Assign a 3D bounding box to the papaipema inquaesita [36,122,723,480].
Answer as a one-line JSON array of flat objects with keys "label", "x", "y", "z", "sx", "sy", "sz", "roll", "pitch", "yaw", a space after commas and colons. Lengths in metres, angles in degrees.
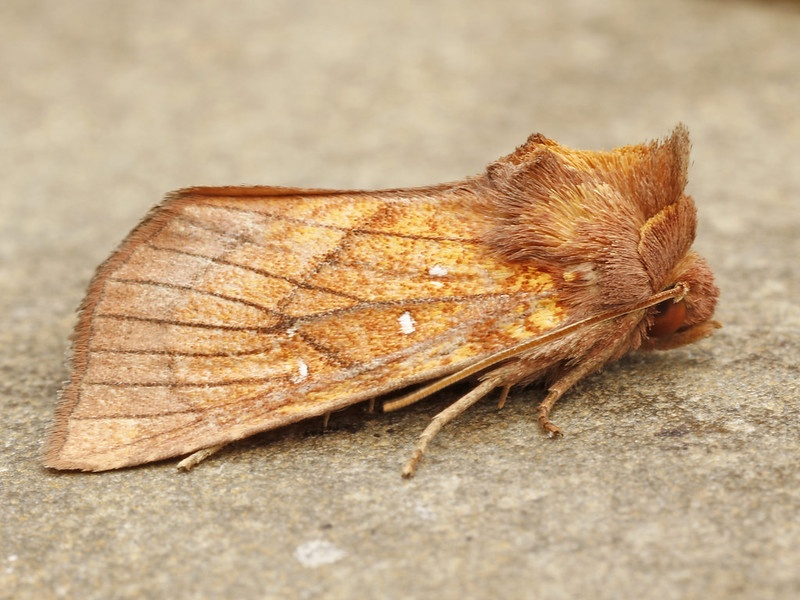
[{"label": "papaipema inquaesita", "x": -0.057, "y": -0.026, "z": 2.841, "sx": 2.153, "sy": 0.997, "sz": 0.510, "roll": -3, "pitch": 18, "yaw": -2}]
